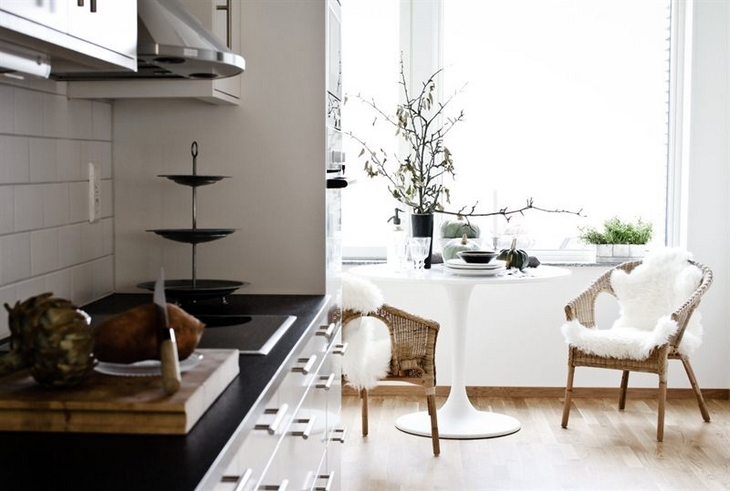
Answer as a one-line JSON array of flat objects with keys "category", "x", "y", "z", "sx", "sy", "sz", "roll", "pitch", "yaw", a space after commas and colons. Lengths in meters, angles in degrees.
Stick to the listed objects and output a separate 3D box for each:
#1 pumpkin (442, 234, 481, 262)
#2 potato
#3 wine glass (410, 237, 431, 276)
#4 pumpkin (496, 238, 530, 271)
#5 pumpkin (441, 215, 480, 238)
[{"category": "pumpkin", "x": 0.605, "y": 0.004, "z": 3.693, "sx": 0.179, "sy": 0.186, "sz": 0.185, "roll": 4, "pitch": 2, "yaw": 31}, {"category": "potato", "x": -0.483, "y": 0.192, "z": 1.312, "sx": 0.216, "sy": 0.116, "sz": 0.114, "roll": -1, "pitch": -2, "yaw": -17}, {"category": "wine glass", "x": 0.338, "y": 0.044, "z": 3.640, "sx": 0.177, "sy": 0.264, "sz": 0.182, "roll": 1, "pitch": -4, "yaw": -1}, {"category": "pumpkin", "x": 0.928, "y": 0.052, "z": 3.700, "sx": 0.205, "sy": 0.255, "sz": 0.202, "roll": -1, "pitch": 1, "yaw": 29}, {"category": "pumpkin", "x": 0.626, "y": -0.133, "z": 3.895, "sx": 0.153, "sy": 0.099, "sz": 0.153, "roll": 2, "pitch": 1, "yaw": -11}]
